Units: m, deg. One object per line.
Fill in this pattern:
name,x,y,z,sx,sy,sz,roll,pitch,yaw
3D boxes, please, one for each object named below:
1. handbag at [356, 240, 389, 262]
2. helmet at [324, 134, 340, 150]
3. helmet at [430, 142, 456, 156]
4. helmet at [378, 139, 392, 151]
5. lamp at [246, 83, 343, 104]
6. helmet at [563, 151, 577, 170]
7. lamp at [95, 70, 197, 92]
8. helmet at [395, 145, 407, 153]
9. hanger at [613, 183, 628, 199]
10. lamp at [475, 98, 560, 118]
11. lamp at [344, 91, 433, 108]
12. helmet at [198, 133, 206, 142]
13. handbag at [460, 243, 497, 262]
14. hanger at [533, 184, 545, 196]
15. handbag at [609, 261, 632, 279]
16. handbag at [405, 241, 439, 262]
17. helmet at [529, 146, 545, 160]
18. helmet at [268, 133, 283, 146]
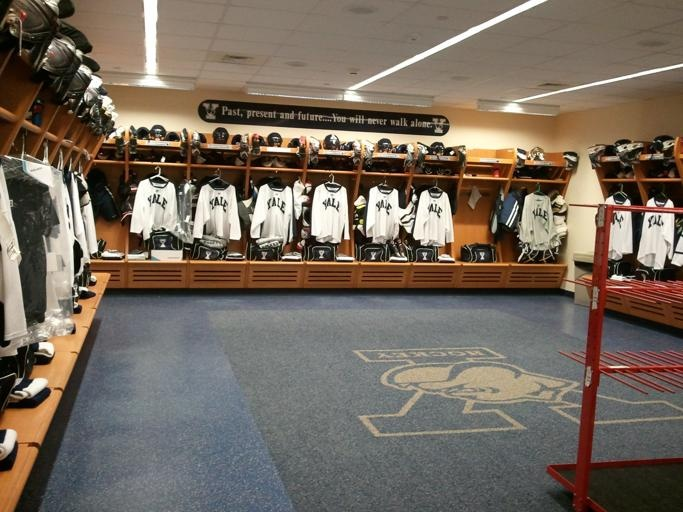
handbag,0.534,-0.068,8.304,0.654,0.392,0.322,1,12,-9
helmet,-0.160,-1.955,8.145,0.228,0.273,0.297,-5,-9,32
helmet,1.823,-1.947,8.552,0.444,0.169,0.287,6,6,34
helmet,0.744,-1.994,8.398,0.203,0.226,0.239,0,2,-13
lamp,-0.960,-2.818,8.125,1.463,0.180,0.271,-4,13,-26
helmet,4.401,-1.851,9.005,0.268,0.324,0.168,2,8,-9
lamp,-3.069,-2.767,7.391,1.584,0.195,0.293,-3,12,-20
helmet,1.048,-1.933,8.340,0.189,0.184,0.309,3,8,2
hanger,4.738,-1.097,7.934,0.215,0.316,0.551,7,9,27
lamp,3.235,-2.743,8.597,1.606,0.172,0.278,2,8,-7
lamp,0.798,-2.783,8.367,1.341,0.201,0.160,2,12,2
helmet,-2.284,-1.936,7.642,0.115,0.163,0.176,0,2,-10
handbag,2.586,-0.069,8.847,0.671,0.364,0.346,1,12,-8
hanger,3.849,-1.317,9.157,0.270,0.268,0.176,2,14,17
handbag,4.564,0.217,7.690,0.306,0.239,0.152,-2,1,-12
handbag,1.419,-0.214,8.575,0.628,0.541,0.308,1,6,-7
helmet,3.743,-1.963,9.013,0.277,0.327,0.349,-2,6,19
helmet,-1.131,-1.983,7.974,0.208,0.240,0.243,5,39,-6
